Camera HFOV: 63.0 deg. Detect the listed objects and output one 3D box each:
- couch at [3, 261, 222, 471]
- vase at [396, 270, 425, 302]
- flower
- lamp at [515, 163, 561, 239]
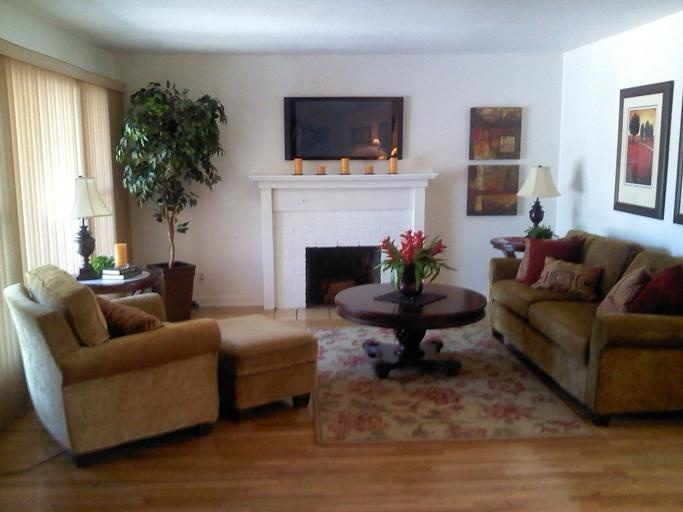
[{"bbox_3d":[-1.485,0.590,3.630,1.092,0.885,1.120,-6,13,-36],"label":"couch"},{"bbox_3d":[0.563,0.245,4.534,0.214,0.312,0.220,-1,3,-3],"label":"vase"},{"bbox_3d":[0.586,0.060,4.776,0.665,0.590,0.681,5,7,38],"label":"flower"},{"bbox_3d":[2.097,-0.602,5.962,0.390,0.721,0.837,4,15,18],"label":"lamp"}]
